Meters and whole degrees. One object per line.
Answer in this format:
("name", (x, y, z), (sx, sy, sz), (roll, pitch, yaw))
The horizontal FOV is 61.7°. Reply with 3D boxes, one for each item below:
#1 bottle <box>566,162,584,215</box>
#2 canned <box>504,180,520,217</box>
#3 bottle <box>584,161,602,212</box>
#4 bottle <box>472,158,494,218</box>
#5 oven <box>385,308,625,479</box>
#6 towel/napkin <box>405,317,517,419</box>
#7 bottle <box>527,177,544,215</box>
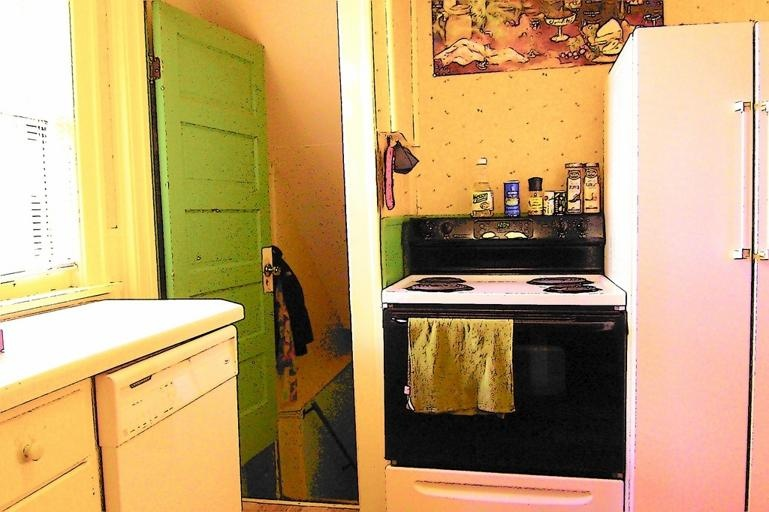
("bottle", (0.973, -0.345, 3.271), (0.080, 0.251, 0.067), (1, 6, 8))
("canned", (0.667, -0.296, 3.323), (0.067, 0.177, 0.065), (0, 6, 1))
("bottle", (1.061, -0.347, 3.265), (0.080, 0.248, 0.080), (0, 6, 0))
("bottle", (0.531, -0.366, 3.390), (0.119, 0.306, 0.234), (1, 6, 10))
("oven", (0.665, 0.650, 3.164), (1.221, 0.722, 0.856), (-2, -11, 20))
("towel/napkin", (0.341, 0.486, 2.800), (0.483, 0.417, 0.055), (-3, -8, 18))
("bottle", (0.795, -0.315, 3.337), (0.081, 0.189, 0.095), (2, 6, 14))
